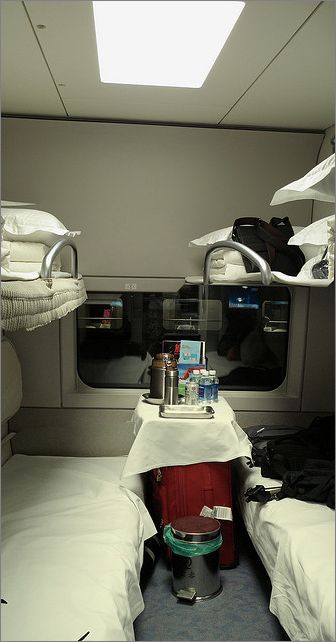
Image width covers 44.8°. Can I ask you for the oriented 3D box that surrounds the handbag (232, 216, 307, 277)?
[{"bbox_3d":[0.639,-0.419,2.544,0.393,0.471,0.264,-1,-30,-3],"label":"handbag"}]

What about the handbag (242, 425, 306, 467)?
[{"bbox_3d":[0.700,0.804,2.862,0.345,0.135,0.422,-8,-10,8],"label":"handbag"}]

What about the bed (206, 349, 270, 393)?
[{"bbox_3d":[0.535,0.377,2.995,0.509,0.305,0.090,-2,-2,-6],"label":"bed"}]

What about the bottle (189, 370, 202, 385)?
[{"bbox_3d":[0.163,0.330,2.428,0.058,0.135,0.066,-1,7,1],"label":"bottle"}]

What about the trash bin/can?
[{"bbox_3d":[0.121,1.197,2.117,0.252,0.350,0.325,0,3,0],"label":"trash bin/can"}]
